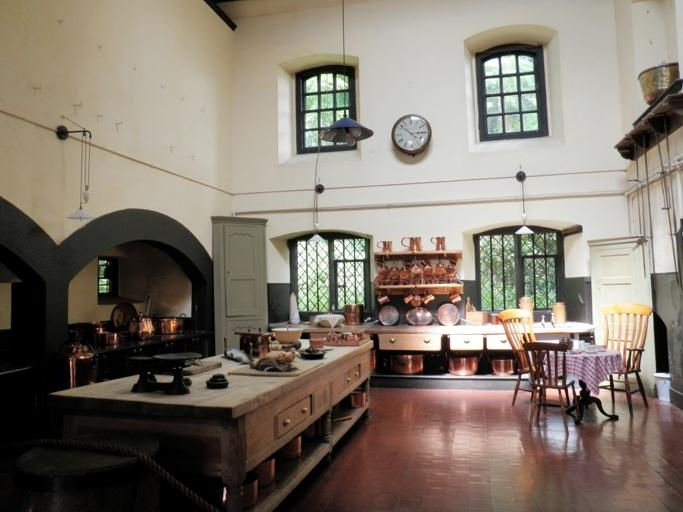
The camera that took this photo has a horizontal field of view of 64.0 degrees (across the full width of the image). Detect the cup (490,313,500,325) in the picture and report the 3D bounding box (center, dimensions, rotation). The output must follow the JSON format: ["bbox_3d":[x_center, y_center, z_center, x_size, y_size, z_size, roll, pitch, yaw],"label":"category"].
[{"bbox_3d":[2.386,0.995,8.564,0.138,0.153,0.137,-1,1,0],"label":"cup"}]

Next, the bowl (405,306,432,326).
[{"bbox_3d":[1.263,0.969,8.874,0.310,0.276,0.384,-5,5,-39],"label":"bowl"}]

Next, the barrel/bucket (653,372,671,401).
[{"bbox_3d":[4.331,1.760,7.422,0.279,0.295,0.304,-2,0,0],"label":"barrel/bucket"}]

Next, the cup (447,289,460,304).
[{"bbox_3d":[1.850,0.663,8.892,0.190,0.232,0.167,-1,4,14],"label":"cup"}]

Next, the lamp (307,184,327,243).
[{"bbox_3d":[-0.406,-0.713,9.325,0.296,1.052,1.004,-2,4,-3],"label":"lamp"}]

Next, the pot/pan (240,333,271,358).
[{"bbox_3d":[-0.825,0.869,5.392,0.231,0.186,0.246,0,-1,-16],"label":"pot/pan"}]

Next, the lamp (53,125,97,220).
[{"bbox_3d":[-3.156,-0.982,6.562,0.290,1.128,0.429,-2,4,-9],"label":"lamp"}]

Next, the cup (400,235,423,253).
[{"bbox_3d":[1.143,-0.184,8.971,0.306,0.244,0.199,-3,-2,26],"label":"cup"}]

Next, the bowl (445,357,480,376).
[{"bbox_3d":[1.861,1.690,8.426,0.301,0.226,0.318,1,-6,0],"label":"bowl"}]

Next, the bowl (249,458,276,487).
[{"bbox_3d":[-0.651,1.837,4.662,0.170,0.157,0.201,-1,-8,-3],"label":"bowl"}]

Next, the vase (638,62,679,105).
[{"bbox_3d":[4.149,-2.283,7.338,0.543,0.448,0.569,-1,-4,-7],"label":"vase"}]

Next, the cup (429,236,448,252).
[{"bbox_3d":[1.567,-0.196,8.879,0.248,0.242,0.220,-1,4,9],"label":"cup"}]

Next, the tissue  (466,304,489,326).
[{"bbox_3d":[2.149,0.917,8.726,0.339,0.289,0.672,-1,4,15],"label":"tissue "}]

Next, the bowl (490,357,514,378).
[{"bbox_3d":[2.450,1.694,8.335,0.247,0.202,0.259,-1,-3,0],"label":"bowl"}]

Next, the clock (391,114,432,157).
[{"bbox_3d":[1.217,-2.184,9.049,0.646,0.148,0.690,16,-33,30],"label":"clock"}]

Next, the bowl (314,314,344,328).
[{"bbox_3d":[-0.209,1.046,8.908,0.254,0.113,0.261,0,4,0],"label":"bowl"}]

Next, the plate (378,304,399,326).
[{"bbox_3d":[0.782,0.966,9.016,0.352,0.314,0.170,-2,4,4],"label":"plate"}]

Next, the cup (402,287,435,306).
[{"bbox_3d":[1.265,0.669,8.953,0.421,0.268,0.197,-1,15,31],"label":"cup"}]

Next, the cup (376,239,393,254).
[{"bbox_3d":[0.716,-0.153,9.010,0.252,0.269,0.165,0,-1,15],"label":"cup"}]

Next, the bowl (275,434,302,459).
[{"bbox_3d":[-0.487,1.796,5.182,0.184,0.150,0.191,0,-7,0],"label":"bowl"}]

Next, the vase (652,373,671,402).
[{"bbox_3d":[4.338,1.765,7.403,0.135,0.369,0.318,-1,4,13],"label":"vase"}]

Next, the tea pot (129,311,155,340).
[{"bbox_3d":[-2.812,1.012,7.842,0.287,0.333,0.300,-1,-4,0],"label":"tea pot"}]

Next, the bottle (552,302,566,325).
[{"bbox_3d":[3.349,0.904,8.456,0.248,0.432,0.271,-1,-4,0],"label":"bottle"}]

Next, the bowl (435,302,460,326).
[{"bbox_3d":[1.701,0.938,8.723,0.338,0.331,0.243,-1,4,10],"label":"bowl"}]

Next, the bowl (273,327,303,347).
[{"bbox_3d":[-0.590,0.851,5.839,0.246,0.139,0.245,-2,-7,0],"label":"bowl"}]

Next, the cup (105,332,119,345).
[{"bbox_3d":[-3.062,1.113,7.343,0.152,0.176,0.156,2,2,0],"label":"cup"}]

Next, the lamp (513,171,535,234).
[{"bbox_3d":[2.877,-0.838,8.666,0.243,1.081,1.161,0,4,19],"label":"lamp"}]

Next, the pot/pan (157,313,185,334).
[{"bbox_3d":[-2.600,1.048,8.430,0.282,0.216,0.265,-7,-11,43],"label":"pot/pan"}]

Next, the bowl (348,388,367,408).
[{"bbox_3d":[0.218,1.785,6.768,0.151,0.140,0.198,-1,-8,-7],"label":"bowl"}]

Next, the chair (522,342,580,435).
[{"bbox_3d":[2.605,1.499,6.899,0.516,1.104,1.236,0,4,23],"label":"chair"}]
